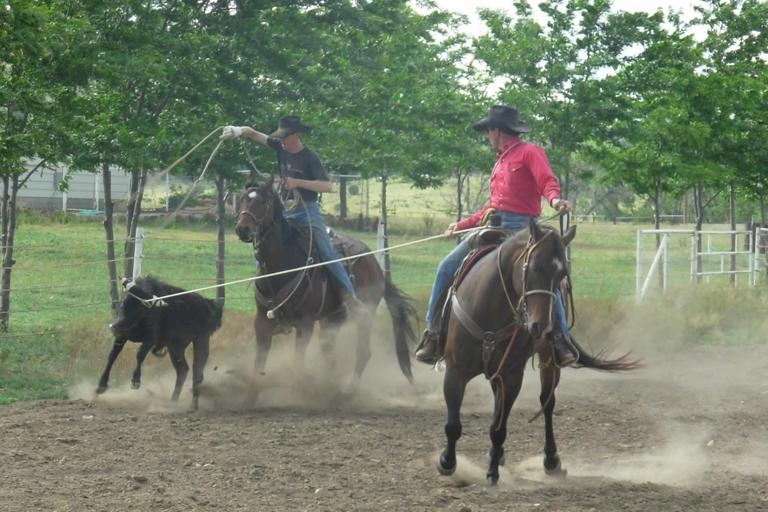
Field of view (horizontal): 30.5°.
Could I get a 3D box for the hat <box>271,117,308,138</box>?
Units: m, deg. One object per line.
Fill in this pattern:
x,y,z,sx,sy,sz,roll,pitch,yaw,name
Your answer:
-1.979,-2.912,31.568,0.545,0.257,0.647,5,12,30,hat
